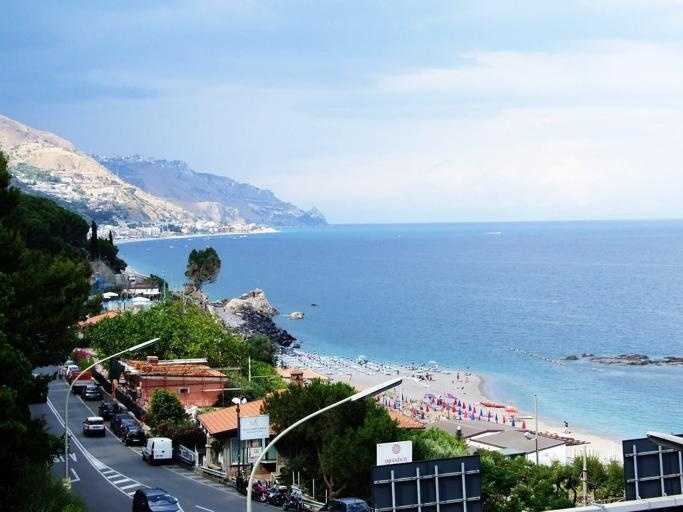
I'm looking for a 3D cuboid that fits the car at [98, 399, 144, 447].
[{"bbox_3d":[-21.840,17.098,89.218,2.865,2.063,6.199,3,17,-29],"label":"car"}]

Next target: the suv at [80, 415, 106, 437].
[{"bbox_3d":[-25.040,16.900,89.040,1.446,1.289,2.656,0,8,-19],"label":"suv"}]
